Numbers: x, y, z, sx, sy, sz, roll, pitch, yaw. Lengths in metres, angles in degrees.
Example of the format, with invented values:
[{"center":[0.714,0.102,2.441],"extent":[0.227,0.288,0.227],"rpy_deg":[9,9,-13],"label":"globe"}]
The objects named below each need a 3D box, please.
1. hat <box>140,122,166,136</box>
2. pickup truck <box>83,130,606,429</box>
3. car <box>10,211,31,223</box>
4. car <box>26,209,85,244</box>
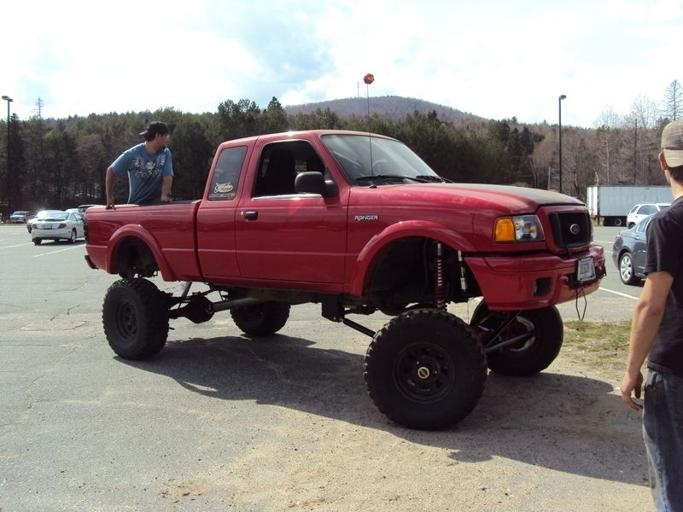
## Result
[{"center":[-2.544,-1.702,8.035],"extent":[0.338,0.235,0.254],"rpy_deg":[-4,14,0],"label":"hat"},{"center":[-0.065,-0.035,6.941],"extent":[5.518,2.755,2.787],"rpy_deg":[0,1,34],"label":"pickup truck"},{"center":[-32.400,-3.825,60.400],"extent":[1.984,1.704,3.516],"rpy_deg":[-2,2,-39],"label":"car"},{"center":[-12.705,-1.254,26.896],"extent":[1.325,1.384,2.734],"rpy_deg":[-1,6,-4],"label":"car"}]
